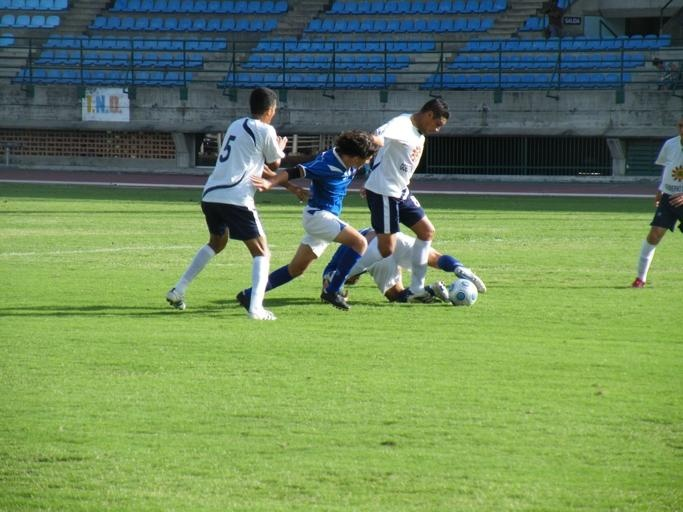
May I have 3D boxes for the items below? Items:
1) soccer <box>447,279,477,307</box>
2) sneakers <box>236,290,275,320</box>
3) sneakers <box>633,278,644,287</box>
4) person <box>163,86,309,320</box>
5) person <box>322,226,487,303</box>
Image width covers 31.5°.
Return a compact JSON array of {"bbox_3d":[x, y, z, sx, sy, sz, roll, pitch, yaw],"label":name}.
[{"bbox_3d":[1.428,0.407,14.408,0.349,0.304,0.313,-2,10,2],"label":"soccer"},{"bbox_3d":[-1.027,0.554,13.830,0.601,0.246,0.209,11,15,41],"label":"sneakers"},{"bbox_3d":[3.775,0.324,15.409,0.129,0.100,0.110,2,0,4],"label":"sneakers"},{"bbox_3d":[-1.223,-0.623,13.832,1.109,2.587,0.611,3,4,2],"label":"person"},{"bbox_3d":[0.767,0.195,14.706,1.708,0.505,0.886,20,-16,20],"label":"person"}]
